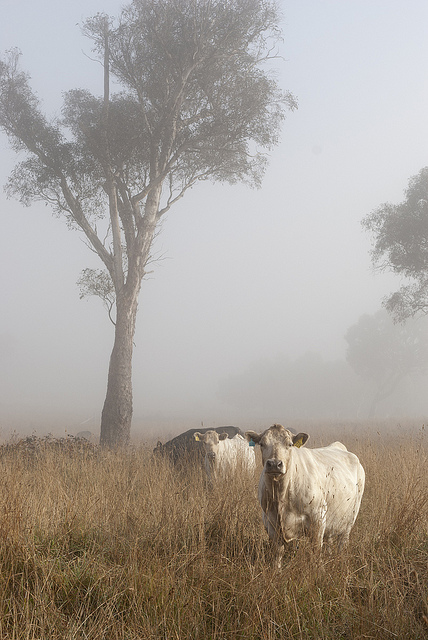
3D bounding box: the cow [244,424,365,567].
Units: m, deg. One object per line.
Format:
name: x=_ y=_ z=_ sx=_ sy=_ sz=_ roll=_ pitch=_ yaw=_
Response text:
cow: x=0.910 y=1.775 z=5.973 sx=0.666 sy=1.411 sz=2.266 roll=-2 pitch=-15 yaw=29
